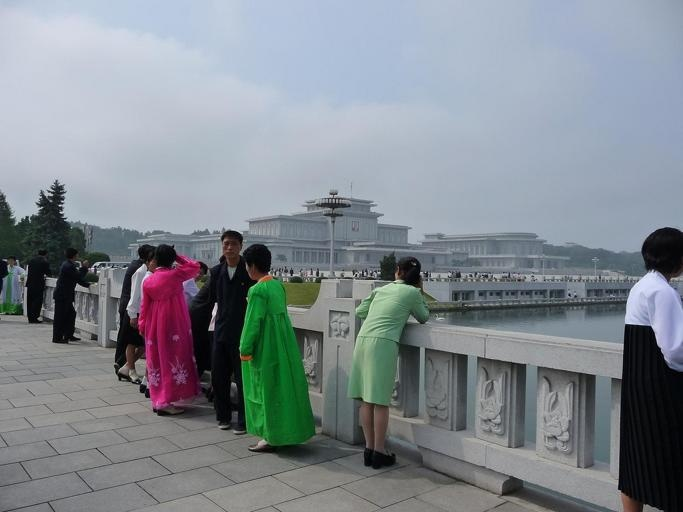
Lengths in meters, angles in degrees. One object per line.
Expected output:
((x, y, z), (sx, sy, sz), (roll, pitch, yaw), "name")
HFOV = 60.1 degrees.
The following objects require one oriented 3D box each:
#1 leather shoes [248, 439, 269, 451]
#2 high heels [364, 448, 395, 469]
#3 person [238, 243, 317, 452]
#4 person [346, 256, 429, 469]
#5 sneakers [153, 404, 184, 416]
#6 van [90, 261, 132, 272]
((-0.938, 2.165, 6.703), (0.211, 0.090, 0.123), (8, -11, -13), "leather shoes")
((0.406, 2.195, 6.395), (0.324, 0.136, 0.160), (3, -4, -42), "high heels")
((-0.738, 1.002, 6.738), (0.813, 1.958, 0.345), (2, -1, -6), "person")
((0.484, 1.146, 6.420), (0.783, 1.709, 0.546), (2, -1, 2), "person")
((-2.356, 2.083, 8.022), (0.397, 0.132, 0.233), (2, -1, -20), "sneakers")
((-18.152, 0.781, 45.394), (2.221, 1.213, 1.538), (2, -6, -29), "van")
